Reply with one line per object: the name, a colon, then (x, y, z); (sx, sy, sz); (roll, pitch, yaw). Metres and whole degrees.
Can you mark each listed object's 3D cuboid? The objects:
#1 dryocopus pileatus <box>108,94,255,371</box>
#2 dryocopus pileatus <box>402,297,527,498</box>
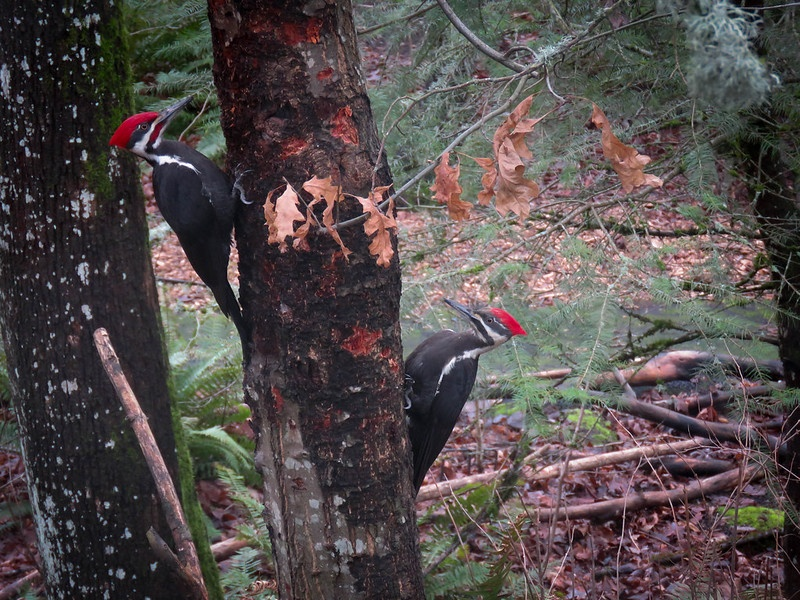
dryocopus pileatus: (-1.433, -0.535, 7.414); (0.766, 1.559, 0.717); (-12, -9, 2)
dryocopus pileatus: (0.436, 0.637, 8.065); (0.871, 1.263, 0.628); (-12, -9, 2)
